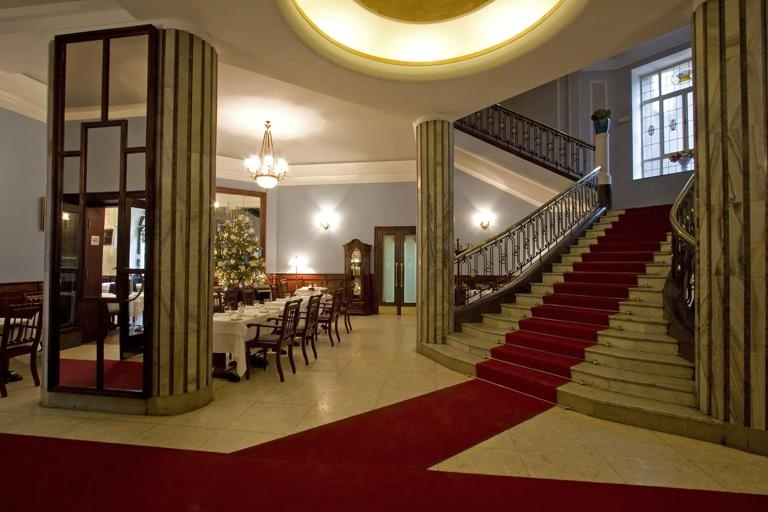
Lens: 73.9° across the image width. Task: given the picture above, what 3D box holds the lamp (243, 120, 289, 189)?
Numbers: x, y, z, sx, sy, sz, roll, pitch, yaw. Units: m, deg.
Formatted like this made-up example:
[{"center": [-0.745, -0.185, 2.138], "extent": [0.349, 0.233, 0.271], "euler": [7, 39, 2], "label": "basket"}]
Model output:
[{"center": [-2.570, -2.241, 11.078], "extent": [0.843, 1.576, 0.887], "euler": [-3, -6, 25], "label": "lamp"}]

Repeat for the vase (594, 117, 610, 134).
[{"center": [4.642, -2.764, 10.903], "extent": [0.244, 0.315, 0.208], "euler": [9, 13, 36], "label": "vase"}]

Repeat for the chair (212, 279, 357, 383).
[{"center": [-1.949, 1.278, 8.799], "extent": [1.408, 1.314, 2.561], "euler": [3, 11, 10], "label": "chair"}]

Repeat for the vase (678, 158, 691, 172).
[{"center": [7.190, -2.156, 12.203], "extent": [0.251, 0.211, 0.254], "euler": [-1, -2, 2], "label": "vase"}]

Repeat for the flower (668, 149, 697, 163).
[{"center": [7.050, -2.372, 12.167], "extent": [0.509, 0.323, 0.380], "euler": [8, 13, 34], "label": "flower"}]

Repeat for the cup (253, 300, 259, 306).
[{"center": [-2.466, 0.907, 9.745], "extent": [0.090, 0.073, 0.095], "euler": [0, -6, 0], "label": "cup"}]

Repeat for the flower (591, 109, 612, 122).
[{"center": [4.725, -3.015, 10.991], "extent": [0.387, 0.406, 0.152], "euler": [15, -25, 39], "label": "flower"}]
